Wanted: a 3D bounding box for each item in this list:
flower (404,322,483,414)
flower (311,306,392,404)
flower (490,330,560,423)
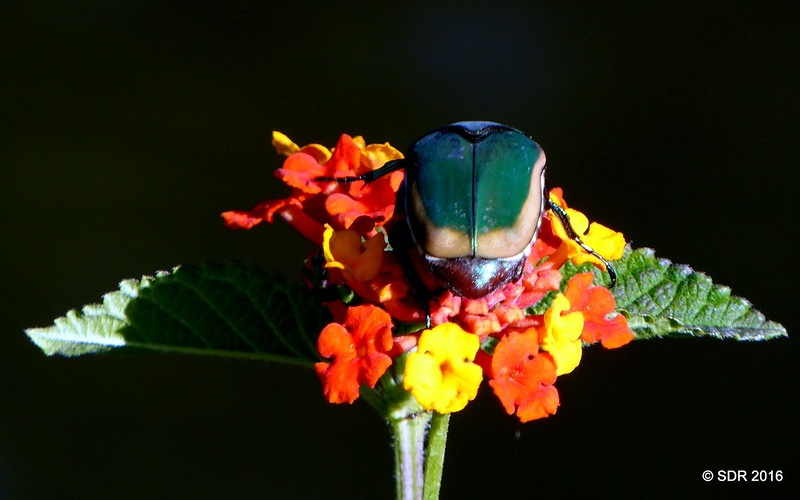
[{"bbox_3d":[0.144,0.387,2.695,0.301,0.110,0.300,21,10,-42],"label":"flower"},{"bbox_3d":[-0.154,0.352,2.805,0.264,0.316,0.179,0,-16,4],"label":"flower"},{"bbox_3d":[0.399,0.415,2.786,0.230,0.302,0.186,2,-16,-5],"label":"flower"}]
